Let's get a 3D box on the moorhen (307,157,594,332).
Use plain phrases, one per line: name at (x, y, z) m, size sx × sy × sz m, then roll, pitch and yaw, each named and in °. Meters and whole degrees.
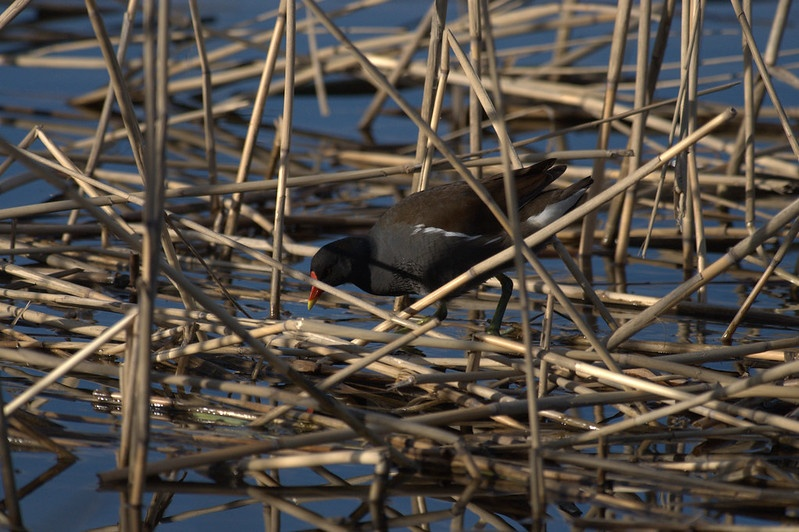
moorhen at (0.316, -0.022, 7.223) m, size 1.703 × 0.899 × 0.776 m, roll -13°, pitch 44°, yaw -9°
